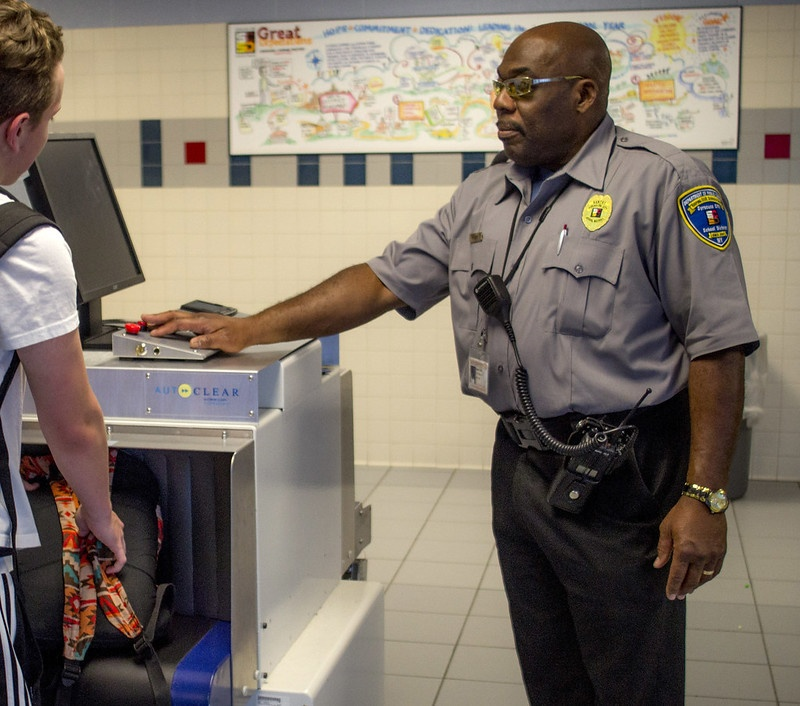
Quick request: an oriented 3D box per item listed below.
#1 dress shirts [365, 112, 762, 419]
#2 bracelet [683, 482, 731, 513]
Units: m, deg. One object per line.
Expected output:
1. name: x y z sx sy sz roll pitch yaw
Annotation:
1. dress shirts: 0.406 -0.185 1.723 0.681 0.630 0.282 3 11 24
2. bracelet: 0.593 0.273 1.554 0.075 0.050 0.081 14 -18 32
